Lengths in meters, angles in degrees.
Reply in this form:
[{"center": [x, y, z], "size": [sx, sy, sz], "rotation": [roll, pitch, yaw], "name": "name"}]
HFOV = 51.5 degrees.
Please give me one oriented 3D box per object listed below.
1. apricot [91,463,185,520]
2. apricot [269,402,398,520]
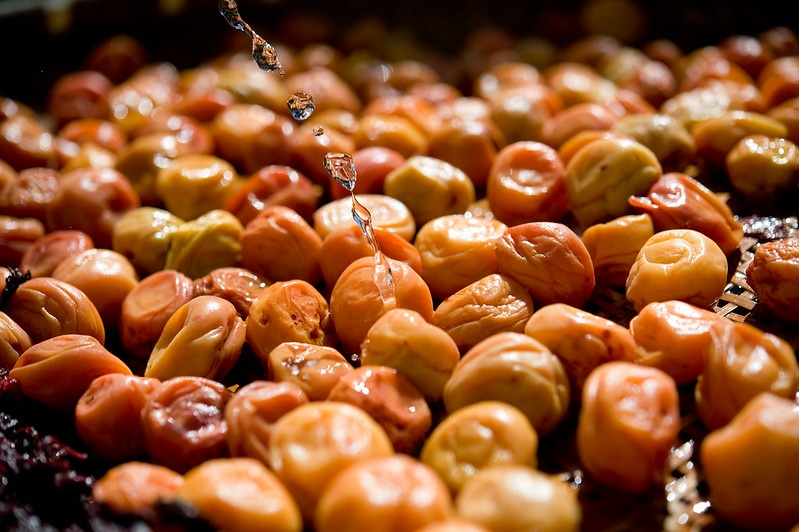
[{"center": [-0.410, 0.345, 1.292], "size": [0.098, 0.038, 0.079], "rotation": [9, 35, 8], "name": "apricot"}, {"center": [-0.104, 0.286, 1.361], "size": [0.171, 0.178, 0.096], "rotation": [-44, 7, 14], "name": "apricot"}]
